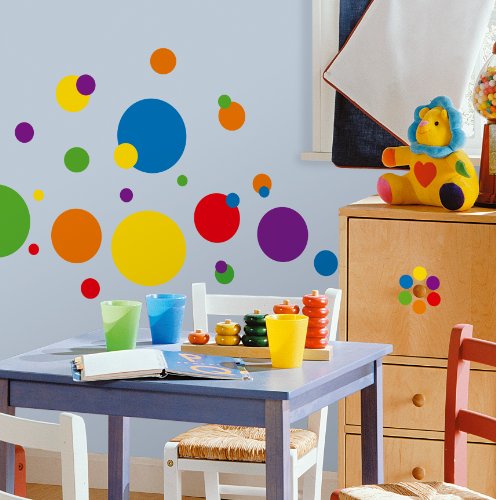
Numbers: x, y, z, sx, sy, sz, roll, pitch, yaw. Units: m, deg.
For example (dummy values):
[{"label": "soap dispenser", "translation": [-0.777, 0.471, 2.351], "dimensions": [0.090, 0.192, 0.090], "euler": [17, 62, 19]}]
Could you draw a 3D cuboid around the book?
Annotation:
[{"label": "book", "translation": [-0.189, 0.223, 1.393], "dimensions": [0.179, 0.031, 0.143], "euler": [-4, 5, -1]}]

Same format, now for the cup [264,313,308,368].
[{"label": "cup", "translation": [0.078, 0.187, 1.457], "dimensions": [0.083, 0.108, 0.092], "euler": [-1, 0, 0]}]

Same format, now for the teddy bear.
[{"label": "teddy bear", "translation": [0.477, -0.255, 1.919], "dimensions": [0.254, 0.307, 0.156], "euler": [12, 11, 41]}]
